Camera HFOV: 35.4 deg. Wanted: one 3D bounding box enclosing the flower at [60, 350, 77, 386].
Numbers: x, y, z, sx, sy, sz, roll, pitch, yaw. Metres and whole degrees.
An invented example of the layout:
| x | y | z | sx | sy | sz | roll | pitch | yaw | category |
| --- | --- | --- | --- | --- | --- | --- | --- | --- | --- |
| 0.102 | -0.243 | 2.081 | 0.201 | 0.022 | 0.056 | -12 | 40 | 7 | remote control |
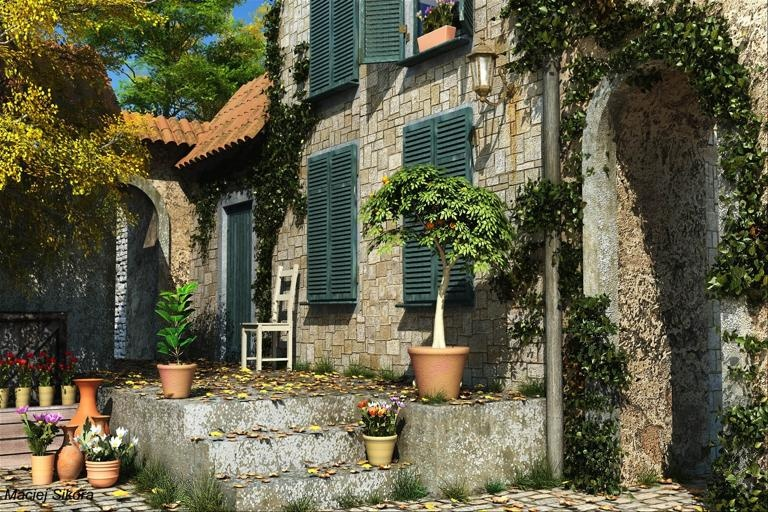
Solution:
| x | y | z | sx | sy | sz | roll | pitch | yaw | category |
| --- | --- | --- | --- | --- | --- | --- | --- | --- | --- |
| -3.982 | 1.414 | 14.941 | 0.157 | 0.319 | 0.157 | 21 | 0 | 9 | flower |

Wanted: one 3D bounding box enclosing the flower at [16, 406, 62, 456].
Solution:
| x | y | z | sx | sy | sz | roll | pitch | yaw | category |
| --- | --- | --- | --- | --- | --- | --- | --- | --- | --- |
| -3.975 | 2.031 | 13.622 | 0.571 | 0.522 | 0.512 | -3 | 0 | -21 | flower |

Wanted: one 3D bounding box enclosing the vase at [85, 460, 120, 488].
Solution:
| x | y | z | sx | sy | sz | roll | pitch | yaw | category |
| --- | --- | --- | --- | --- | --- | --- | --- | --- | --- |
| -3.160 | 2.395 | 13.287 | 0.291 | 0.234 | 0.309 | -6 | -9 | 30 | vase |

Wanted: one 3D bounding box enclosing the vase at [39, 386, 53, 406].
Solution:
| x | y | z | sx | sy | sz | roll | pitch | yaw | category |
| --- | --- | --- | --- | --- | --- | --- | --- | --- | --- |
| -4.206 | 1.723 | 14.723 | 0.183 | 0.261 | 0.203 | 3 | -13 | -17 | vase |

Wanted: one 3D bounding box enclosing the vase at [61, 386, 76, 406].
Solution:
| x | y | z | sx | sy | sz | roll | pitch | yaw | category |
| --- | --- | --- | --- | --- | --- | --- | --- | --- | --- |
| -3.921 | 1.731 | 14.836 | 0.204 | 0.240 | 0.207 | 2 | -6 | -15 | vase |

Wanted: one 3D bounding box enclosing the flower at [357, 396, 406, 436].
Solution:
| x | y | z | sx | sy | sz | roll | pitch | yaw | category |
| --- | --- | --- | --- | --- | --- | --- | --- | --- | --- |
| -0.077 | 1.782 | 13.384 | 0.473 | 0.340 | 0.401 | -1 | -5 | 3 | flower |

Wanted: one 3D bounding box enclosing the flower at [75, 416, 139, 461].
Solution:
| x | y | z | sx | sy | sz | roll | pitch | yaw | category |
| --- | --- | --- | --- | --- | --- | --- | --- | --- | --- |
| -3.215 | 2.134 | 13.503 | 0.574 | 0.317 | 0.562 | 5 | 5 | 5 | flower |

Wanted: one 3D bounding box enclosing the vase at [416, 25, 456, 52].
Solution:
| x | y | z | sx | sy | sz | roll | pitch | yaw | category |
| --- | --- | --- | --- | --- | --- | --- | --- | --- | --- |
| 0.602 | -2.715 | 15.059 | 0.566 | 0.240 | 0.185 | -8 | -14 | 30 | vase |

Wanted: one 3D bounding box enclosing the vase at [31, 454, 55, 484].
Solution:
| x | y | z | sx | sy | sz | roll | pitch | yaw | category |
| --- | --- | --- | --- | --- | --- | --- | --- | --- | --- |
| -3.858 | 2.391 | 13.401 | 0.280 | 0.320 | 0.282 | -7 | -11 | 37 | vase |

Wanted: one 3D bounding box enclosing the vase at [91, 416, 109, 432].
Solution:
| x | y | z | sx | sy | sz | roll | pitch | yaw | category |
| --- | --- | --- | --- | --- | --- | --- | --- | --- | --- |
| -3.300 | 1.935 | 13.827 | 0.186 | 0.224 | 0.191 | -1 | -1 | 0 | vase |

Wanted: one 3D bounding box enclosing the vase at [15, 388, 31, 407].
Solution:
| x | y | z | sx | sy | sz | roll | pitch | yaw | category |
| --- | --- | --- | --- | --- | --- | --- | --- | --- | --- |
| -4.491 | 1.723 | 14.710 | 0.188 | 0.232 | 0.175 | 2 | -12 | -10 | vase |

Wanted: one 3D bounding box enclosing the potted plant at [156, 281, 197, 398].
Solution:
| x | y | z | sx | sy | sz | roll | pitch | yaw | category |
| --- | --- | --- | --- | --- | --- | --- | --- | --- | --- |
| -2.406 | 0.970 | 13.870 | 0.550 | 1.225 | 0.491 | 0 | 0 | -12 | potted plant |

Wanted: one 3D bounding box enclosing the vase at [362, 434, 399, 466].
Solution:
| x | y | z | sx | sy | sz | roll | pitch | yaw | category |
| --- | --- | --- | --- | --- | --- | --- | --- | --- | --- |
| -0.070 | 2.116 | 13.156 | 0.323 | 0.250 | 0.327 | 3 | -5 | -21 | vase |
